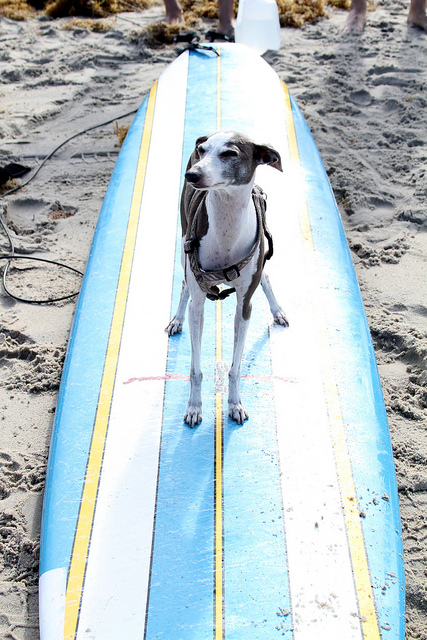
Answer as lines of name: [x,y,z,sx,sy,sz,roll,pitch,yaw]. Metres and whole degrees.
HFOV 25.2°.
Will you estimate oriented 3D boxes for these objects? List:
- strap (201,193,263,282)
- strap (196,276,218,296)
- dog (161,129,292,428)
strap: [0.135,-0.418,5.183,0.329,0.443,0.080,11,-14,12]
strap: [-0.041,-0.190,5.201,0.087,0.065,0.032,26,65,11]
dog: [0.074,-0.192,5.262,0.517,1.734,0.800,2,24,-1]
